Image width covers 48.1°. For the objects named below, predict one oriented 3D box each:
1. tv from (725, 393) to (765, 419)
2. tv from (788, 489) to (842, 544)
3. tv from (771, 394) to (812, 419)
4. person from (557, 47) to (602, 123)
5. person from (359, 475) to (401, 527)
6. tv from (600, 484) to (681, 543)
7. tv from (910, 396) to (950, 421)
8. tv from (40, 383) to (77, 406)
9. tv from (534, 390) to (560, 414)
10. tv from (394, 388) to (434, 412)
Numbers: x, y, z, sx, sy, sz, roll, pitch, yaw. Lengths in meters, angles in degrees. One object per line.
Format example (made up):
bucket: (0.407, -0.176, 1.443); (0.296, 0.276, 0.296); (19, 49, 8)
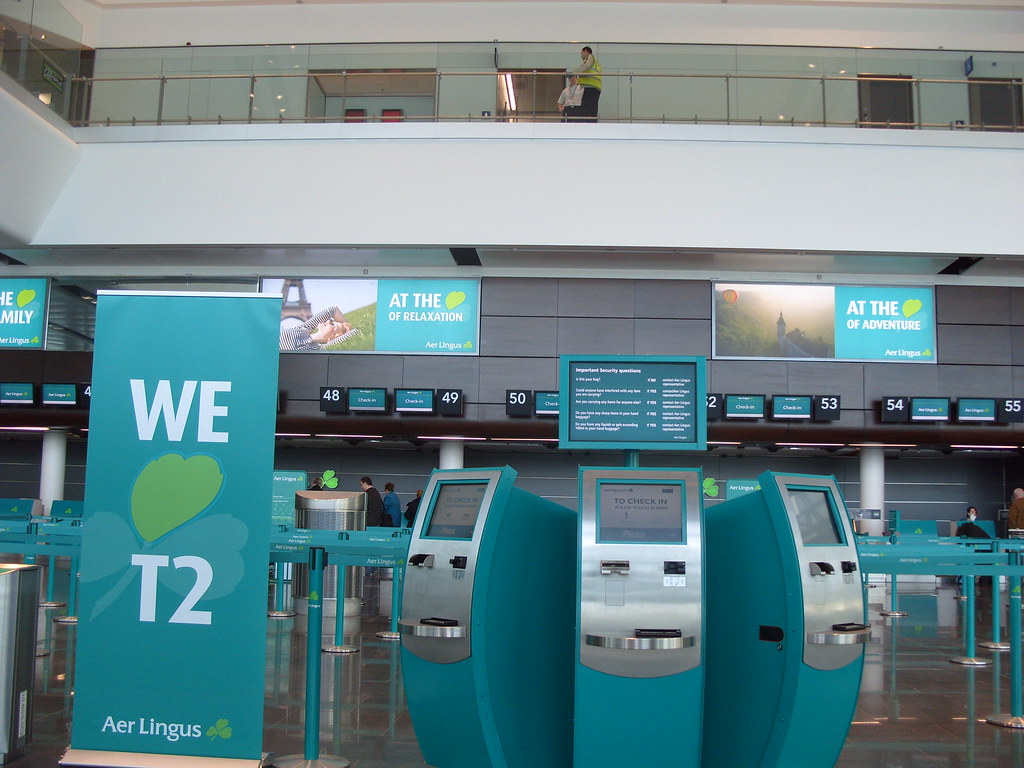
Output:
tv: (3.343, 0.329, 16.639); (0.601, 0.380, 0.319); (1, -10, -1)
tv: (2.207, 0.979, 8.409); (0.446, 0.388, 0.101); (-10, -11, -32)
tv: (4.031, 0.330, 16.635); (0.611, 0.381, 0.321); (1, -9, 0)
person: (0.926, -4.150, 15.894); (0.625, 0.984, 0.347); (-2, -12, 3)
person: (-1.793, 1.647, 15.742); (0.505, 0.704, 1.611); (0, -11, -6)
tv: (0.917, 0.922, 8.218); (0.607, 0.429, 0.099); (0, -12, -7)
tv: (6.040, 0.373, 16.694); (0.612, 0.419, 0.312); (1, -6, 2)
tv: (-6.784, 0.166, 17.222); (0.568, 0.296, 0.361); (0, 1, 4)
tv: (0.485, 0.268, 16.502); (0.455, 0.427, 0.248); (1, -7, -2)
tv: (-1.437, 0.252, 16.804); (0.582, 0.359, 0.305); (1, -12, -2)
